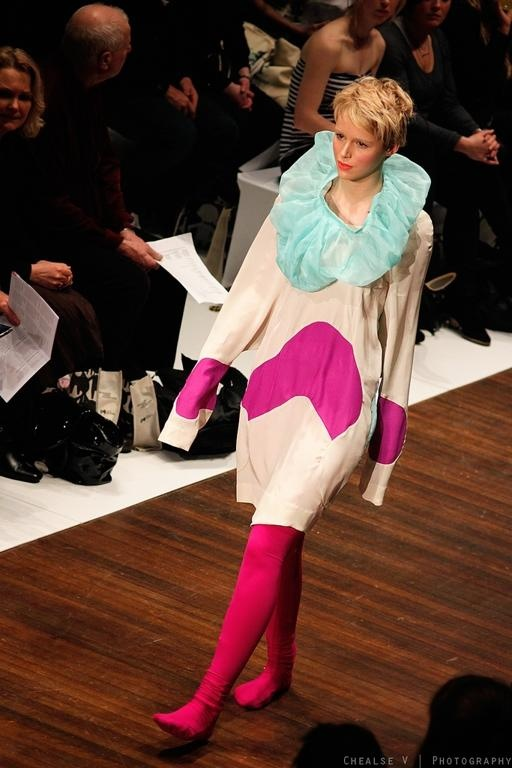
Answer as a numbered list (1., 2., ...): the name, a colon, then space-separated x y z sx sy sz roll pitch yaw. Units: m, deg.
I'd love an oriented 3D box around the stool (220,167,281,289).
1. stool: -0.090 -0.924 3.662 0.485 0.713 0.419 -3 19 -7
